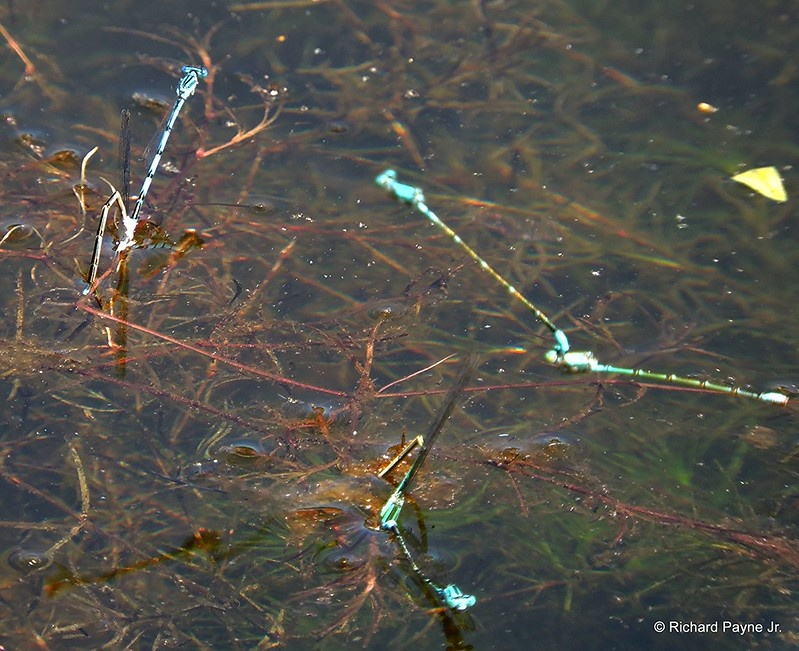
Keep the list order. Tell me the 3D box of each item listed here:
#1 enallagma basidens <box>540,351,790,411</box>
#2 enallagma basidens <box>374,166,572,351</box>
[{"bbox_3d":[1.119,0.254,4.260,1.194,0.135,0.089,7,89,0],"label":"enallagma basidens"},{"bbox_3d":[0.319,-0.271,4.501,1.271,0.195,0.232,34,46,9],"label":"enallagma basidens"}]
